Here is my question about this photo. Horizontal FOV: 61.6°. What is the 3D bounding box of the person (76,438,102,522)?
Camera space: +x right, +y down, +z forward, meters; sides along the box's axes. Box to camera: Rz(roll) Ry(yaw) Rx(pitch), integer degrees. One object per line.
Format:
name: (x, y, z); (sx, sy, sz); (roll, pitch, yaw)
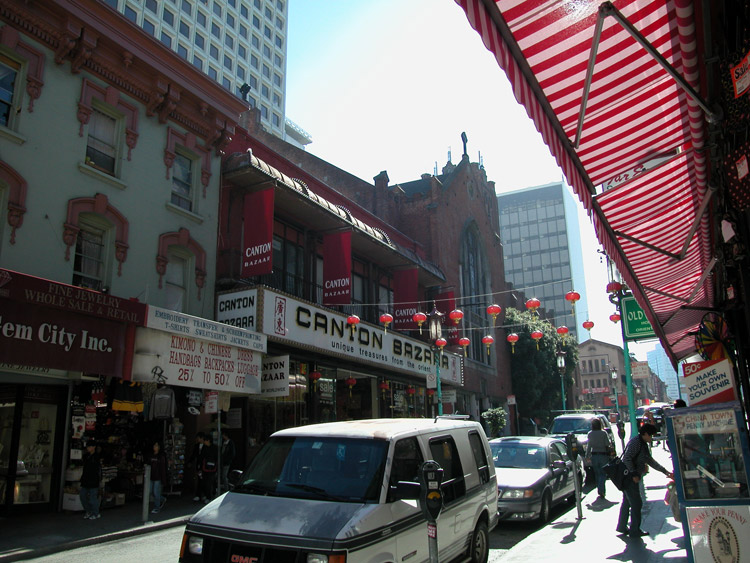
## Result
person: (-7.144, 4.997, 15.778); (0.447, 1.769, 0.752); (4, -20, -22)

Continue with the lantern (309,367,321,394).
lantern: (-2.303, 3.662, 23.848); (0.382, 1.040, 1.119); (-1, -20, -6)

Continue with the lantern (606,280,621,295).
lantern: (5.687, 0.133, 14.977); (0.255, 0.286, 0.283); (-1, -15, 0)

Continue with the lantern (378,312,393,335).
lantern: (0.392, 1.470, 23.081); (0.714, 1.163, 0.789); (0, -8, -3)

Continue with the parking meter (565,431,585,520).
parking meter: (4.590, 4.409, 14.355); (0.251, 1.925, 0.312); (-6, -8, 14)

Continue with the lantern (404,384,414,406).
lantern: (1.694, 5.463, 30.694); (0.419, 0.893, 1.505); (-4, -20, 2)
